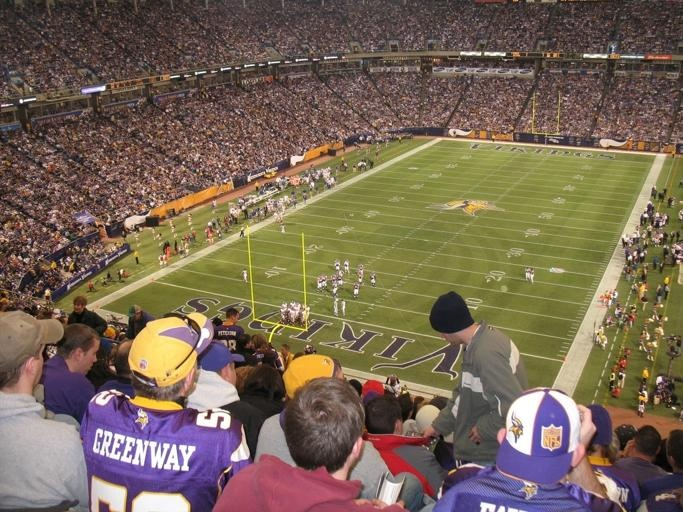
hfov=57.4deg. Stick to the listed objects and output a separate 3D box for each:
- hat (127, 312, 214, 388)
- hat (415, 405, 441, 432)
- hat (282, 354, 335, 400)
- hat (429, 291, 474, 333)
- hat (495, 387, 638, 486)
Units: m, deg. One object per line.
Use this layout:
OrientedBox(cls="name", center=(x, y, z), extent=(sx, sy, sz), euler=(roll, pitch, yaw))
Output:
OrientedBox(cls="hat", center=(-1.440, 0.817, 5.490), extent=(0.490, 0.711, 0.375), euler=(19, -43, 24))
OrientedBox(cls="hat", center=(1.166, 2.231, 8.526), extent=(0.269, 0.373, 0.499), euler=(9, -14, 7))
OrientedBox(cls="hat", center=(-0.289, 1.206, 6.211), extent=(0.477, 0.473, 0.542), euler=(13, -14, -11))
OrientedBox(cls="hat", center=(1.198, 0.607, 7.110), extent=(0.402, 0.399, 0.526), euler=(-15, 16, -3))
OrientedBox(cls="hat", center=(1.451, 1.328, 4.611), extent=(0.502, 0.789, 0.391), euler=(7, -57, 36))
